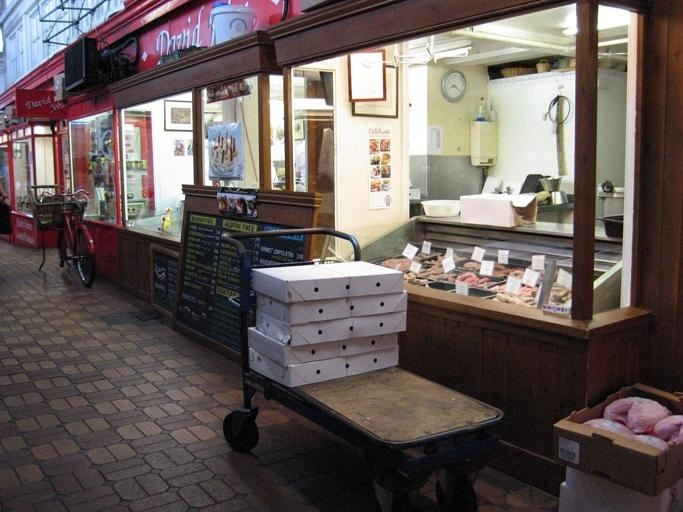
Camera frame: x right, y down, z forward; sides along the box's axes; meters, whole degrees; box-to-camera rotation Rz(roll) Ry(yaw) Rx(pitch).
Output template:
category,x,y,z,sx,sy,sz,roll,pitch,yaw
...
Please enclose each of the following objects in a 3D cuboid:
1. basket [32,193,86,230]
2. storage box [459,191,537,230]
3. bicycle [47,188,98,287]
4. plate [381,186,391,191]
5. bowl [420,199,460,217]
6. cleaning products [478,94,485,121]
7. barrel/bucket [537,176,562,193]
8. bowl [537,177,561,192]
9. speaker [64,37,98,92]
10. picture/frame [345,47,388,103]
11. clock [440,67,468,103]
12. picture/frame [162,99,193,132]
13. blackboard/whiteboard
category,x,y,z,sx,sy,sz,roll,pitch,yaw
basket,-5.056,-0.789,9.173,0.779,0.485,0.763,-7,9,-42
storage box,1.284,-0.369,4.272,0.624,0.255,0.309,2,10,17
bicycle,-4.504,-0.324,9.167,0.918,2.026,1.032,-5,16,-35
plate,0.439,-0.658,5.175,0.062,0.039,0.042,1,-4,-19
bowl,0.894,-0.418,4.712,0.389,0.152,0.206,3,11,21
cleaning products,1.540,-1.590,5.666,0.087,0.265,0.068,3,11,23
barrel/bucket,1.663,-0.563,4.131,0.174,0.136,0.188,1,1,0
bowl,1.664,-0.564,4.151,0.178,0.114,0.154,-4,10,1
speaker,-4.584,-3.292,9.100,0.437,1.016,1.305,-1,3,-36
picture/frame,0.212,-1.660,4.761,0.412,0.434,0.047,-5,32,-8
clock,1.194,-1.823,5.557,0.357,0.333,0.037,-8,18,-36
picture/frame,-2.131,-1.788,6.667,0.071,0.429,0.709,-9,13,-40
blackboard/whiteboard,-0.957,0.190,4.602,0.145,1.350,1.937,0,6,-38
